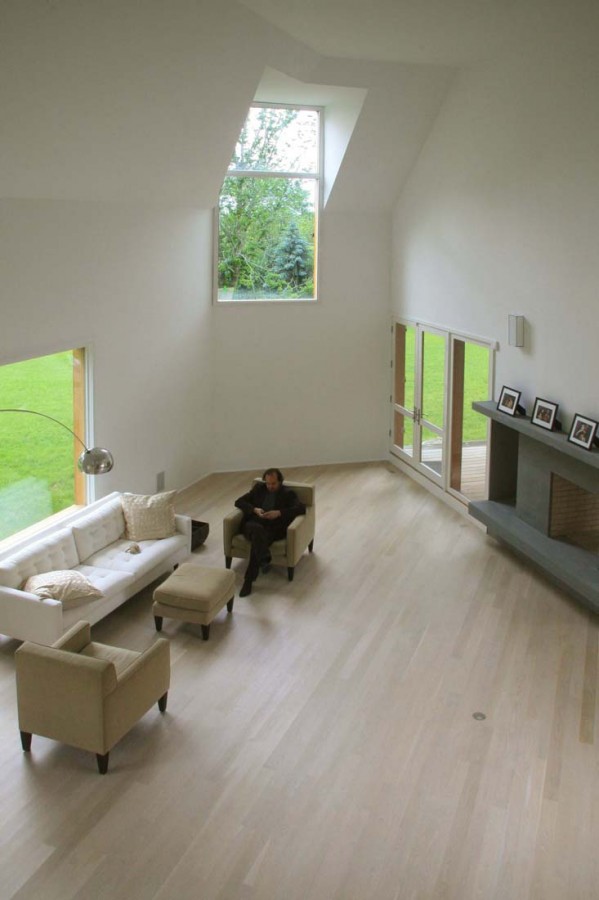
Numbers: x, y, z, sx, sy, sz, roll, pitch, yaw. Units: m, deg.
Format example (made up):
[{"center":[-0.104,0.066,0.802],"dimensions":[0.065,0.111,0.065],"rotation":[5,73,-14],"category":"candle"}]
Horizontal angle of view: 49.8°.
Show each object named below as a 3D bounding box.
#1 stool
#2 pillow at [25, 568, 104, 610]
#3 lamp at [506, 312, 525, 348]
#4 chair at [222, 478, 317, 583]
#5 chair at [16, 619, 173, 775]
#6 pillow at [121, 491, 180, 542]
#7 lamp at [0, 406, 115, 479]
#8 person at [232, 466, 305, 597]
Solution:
[{"center":[-0.960,1.361,5.972],"dimensions":[0.553,0.453,0.729],"rotation":[8,13,16],"category":"stool"},{"center":[-2.061,1.174,5.403],"dimensions":[0.581,0.218,0.592],"rotation":[5,10,27],"category":"pillow"},{"center":[2.336,-1.262,6.920],"dimensions":[0.132,0.353,0.170],"rotation":[0,9,-4],"category":"lamp"},{"center":[-0.360,0.760,7.297],"dimensions":[0.933,1.075,1.000],"rotation":[3,11,17],"category":"chair"},{"center":[-1.343,1.501,4.231],"dimensions":[0.616,0.750,0.844],"rotation":[6,10,8],"category":"chair"},{"center":[-1.623,0.723,6.939],"dimensions":[0.434,0.428,0.158],"rotation":[-1,-21,-18],"category":"pillow"},{"center":[-2.568,-0.084,6.685],"dimensions":[1.097,0.646,0.351],"rotation":[11,31,7],"category":"lamp"},{"center":[-0.370,0.792,6.971],"dimensions":[0.758,0.873,1.494],"rotation":[7,23,3],"category":"person"}]
